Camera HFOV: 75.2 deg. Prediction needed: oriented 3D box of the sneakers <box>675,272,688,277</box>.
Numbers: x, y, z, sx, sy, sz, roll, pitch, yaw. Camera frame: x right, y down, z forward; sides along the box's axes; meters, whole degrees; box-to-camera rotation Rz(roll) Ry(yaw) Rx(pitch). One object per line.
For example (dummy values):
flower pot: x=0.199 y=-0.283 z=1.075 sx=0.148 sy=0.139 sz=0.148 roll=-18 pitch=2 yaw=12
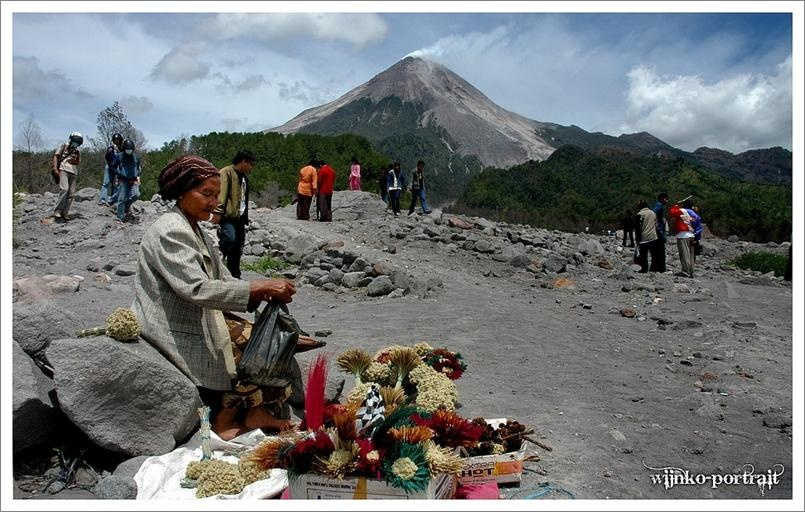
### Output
sneakers: x=8.489 y=0.624 z=15.818 sx=0.206 sy=0.092 sz=0.264 roll=3 pitch=1 yaw=5

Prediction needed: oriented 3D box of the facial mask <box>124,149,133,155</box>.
facial mask: x=-7.687 y=-2.850 z=14.564 sx=0.154 sy=0.098 sz=0.162 roll=-2 pitch=-3 yaw=-3

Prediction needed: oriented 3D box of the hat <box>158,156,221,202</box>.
hat: x=-2.334 y=-0.836 z=5.726 sx=0.592 sy=0.306 sz=0.498 roll=-18 pitch=4 yaw=12

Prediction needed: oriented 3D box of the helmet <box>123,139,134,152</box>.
helmet: x=-7.634 y=-3.008 z=14.557 sx=0.322 sy=0.318 sz=0.349 roll=-3 pitch=12 yaw=-37
